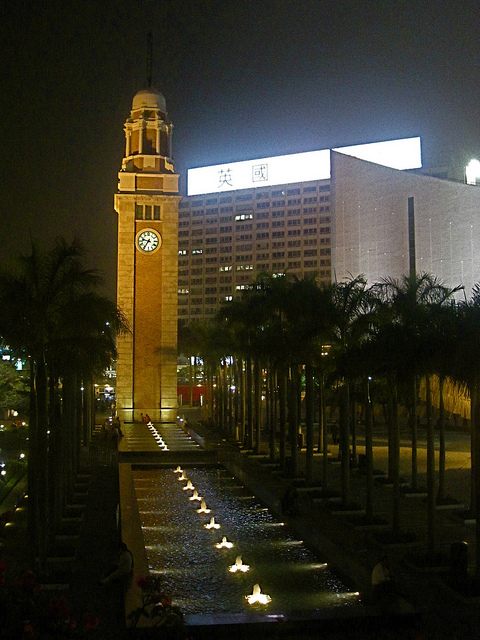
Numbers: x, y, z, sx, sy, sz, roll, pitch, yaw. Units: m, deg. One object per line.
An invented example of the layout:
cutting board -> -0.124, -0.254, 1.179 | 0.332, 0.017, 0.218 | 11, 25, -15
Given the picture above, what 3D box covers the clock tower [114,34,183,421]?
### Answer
clock tower -> -6.289, -6.001, 51.401 | 5.908, 27.973, 6.102 | -4, 10, -34
